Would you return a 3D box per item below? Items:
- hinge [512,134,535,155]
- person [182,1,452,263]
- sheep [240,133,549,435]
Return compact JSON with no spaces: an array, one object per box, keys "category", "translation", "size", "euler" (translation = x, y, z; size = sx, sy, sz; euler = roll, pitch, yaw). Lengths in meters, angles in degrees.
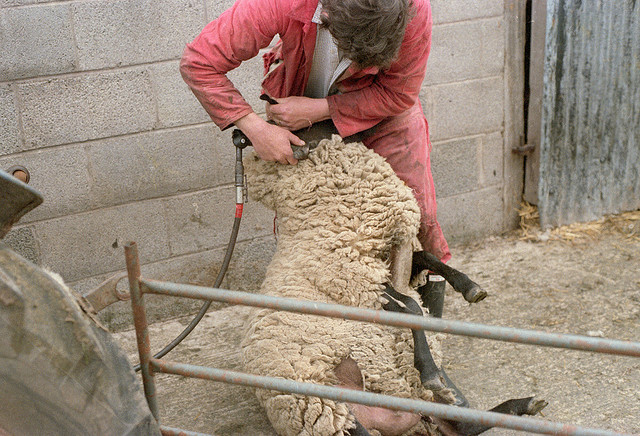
[{"category":"hinge","translation":[1.546,-0.568,6.106],"size":[0.139,0.147,0.043],"euler":[-4,20,11]},{"category":"person","translation":[-0.001,-0.690,4.508],"size":[1.064,1.291,1.482],"euler":[-13,-17,-12]},{"category":"sheep","translation":[0.351,0.422,4.272],"size":[1.118,2.152,1.123],"euler":[0,5,43]}]
